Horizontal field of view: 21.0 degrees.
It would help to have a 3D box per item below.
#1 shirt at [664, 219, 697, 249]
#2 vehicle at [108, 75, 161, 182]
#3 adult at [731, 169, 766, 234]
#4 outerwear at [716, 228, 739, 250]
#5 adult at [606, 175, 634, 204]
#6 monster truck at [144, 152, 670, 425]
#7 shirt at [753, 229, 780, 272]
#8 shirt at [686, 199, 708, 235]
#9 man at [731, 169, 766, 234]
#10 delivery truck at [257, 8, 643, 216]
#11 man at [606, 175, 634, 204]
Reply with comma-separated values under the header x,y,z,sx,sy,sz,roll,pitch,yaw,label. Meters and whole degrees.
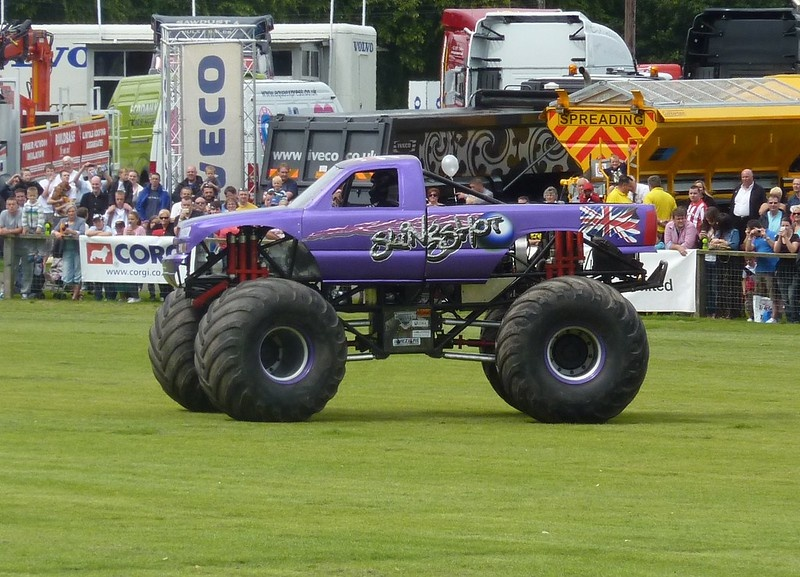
x,y,z,sx,sy,sz,roll,pitch,yaw,label
4.970,-0.972,38.443,0.443,0.547,0.549,-2,-16,8,shirt
-5.923,-3.998,50.425,1.131,2.941,1.086,-16,21,-39,vehicle
4.958,-0.994,38.496,0.537,0.913,1.001,-1,12,1,adult
5.796,-0.903,38.520,0.193,0.317,0.327,6,-13,-33,outerwear
3.858,-1.766,38.079,0.405,0.656,0.695,-1,9,-15,adult
-0.080,0.100,31.658,6.607,3.422,3.722,1,-2,-8,monster truck
6.341,-0.659,37.714,0.420,0.675,0.433,-19,-45,34,shirt
5.315,-1.293,38.890,0.261,0.736,0.622,-1,5,-35,shirt
4.946,-0.992,38.461,0.531,0.918,1.000,1,-7,2,man
1.096,-3.449,44.114,6.717,3.633,3.985,-10,11,-31,delivery truck
3.858,-1.766,38.079,0.405,0.656,0.695,-1,9,-15,man
